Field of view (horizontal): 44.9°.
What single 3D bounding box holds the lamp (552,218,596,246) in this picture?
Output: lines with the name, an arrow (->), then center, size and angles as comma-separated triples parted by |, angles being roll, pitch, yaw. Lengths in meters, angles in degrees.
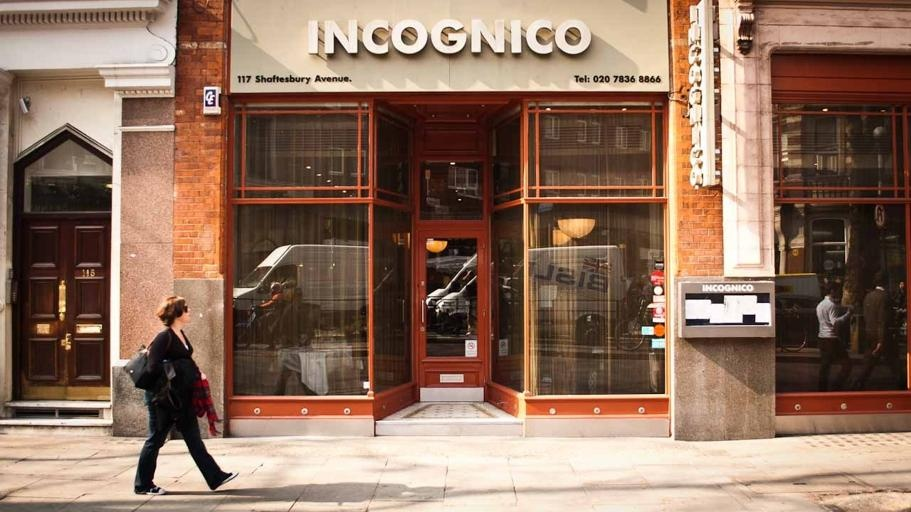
lamp -> 2.365, -0.479, 22.434 | 0.748, 0.288, 0.587 | -1, -4, -7

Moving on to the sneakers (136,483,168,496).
sneakers -> -5.511, 4.204, 20.075 | 0.514, 0.184, 0.189 | 0, -3, 0

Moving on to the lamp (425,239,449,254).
lamp -> -0.407, -0.204, 23.759 | 0.383, 0.199, 0.351 | 0, 1, -14

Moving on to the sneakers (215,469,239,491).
sneakers -> -4.205, 4.062, 20.185 | 0.547, 0.201, 0.186 | -31, 18, -25

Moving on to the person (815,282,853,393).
person -> 7.647, 1.633, 22.418 | 0.691, 2.139, 0.184 | 0, -4, -11
